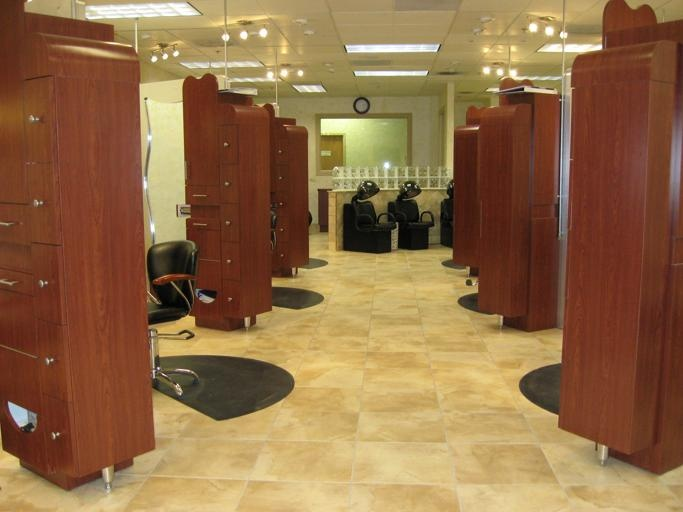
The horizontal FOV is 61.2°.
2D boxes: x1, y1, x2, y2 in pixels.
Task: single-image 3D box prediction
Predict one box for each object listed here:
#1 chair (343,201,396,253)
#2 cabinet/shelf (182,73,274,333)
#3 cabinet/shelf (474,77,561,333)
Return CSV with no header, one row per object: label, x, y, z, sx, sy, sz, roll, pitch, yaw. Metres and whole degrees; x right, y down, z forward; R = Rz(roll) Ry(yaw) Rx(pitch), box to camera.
chair,0.684,-0.596,12.308,1.353,1.125,1.013,2,5,35
cabinet/shelf,-1.246,-0.524,6.196,0.933,2.735,0.612,0,15,3
cabinet/shelf,1.910,-0.453,6.181,0.917,2.536,0.708,2,15,9
